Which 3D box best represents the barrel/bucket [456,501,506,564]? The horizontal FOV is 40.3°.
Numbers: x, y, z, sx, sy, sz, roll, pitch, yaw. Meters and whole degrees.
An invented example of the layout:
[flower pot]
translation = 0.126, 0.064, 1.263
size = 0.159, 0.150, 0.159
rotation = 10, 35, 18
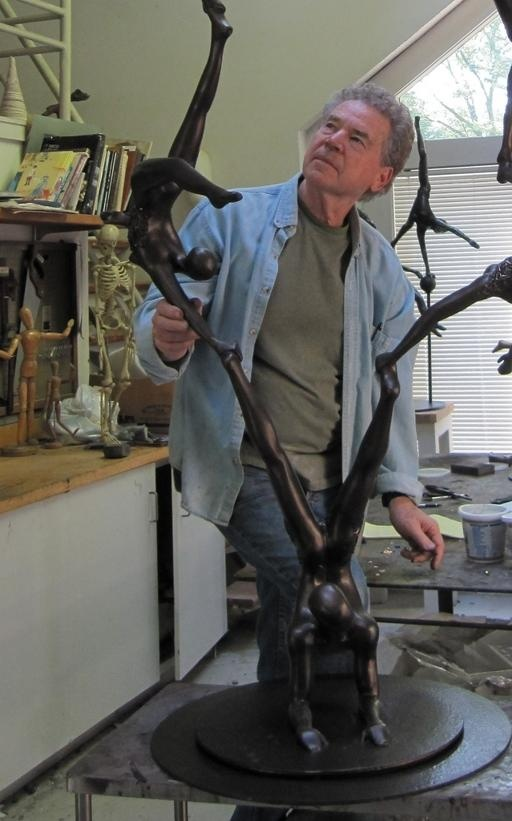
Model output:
[barrel/bucket]
translation = 0.488, 0.289, 1.599
size = 0.114, 0.112, 0.115
rotation = -2, -4, 0
